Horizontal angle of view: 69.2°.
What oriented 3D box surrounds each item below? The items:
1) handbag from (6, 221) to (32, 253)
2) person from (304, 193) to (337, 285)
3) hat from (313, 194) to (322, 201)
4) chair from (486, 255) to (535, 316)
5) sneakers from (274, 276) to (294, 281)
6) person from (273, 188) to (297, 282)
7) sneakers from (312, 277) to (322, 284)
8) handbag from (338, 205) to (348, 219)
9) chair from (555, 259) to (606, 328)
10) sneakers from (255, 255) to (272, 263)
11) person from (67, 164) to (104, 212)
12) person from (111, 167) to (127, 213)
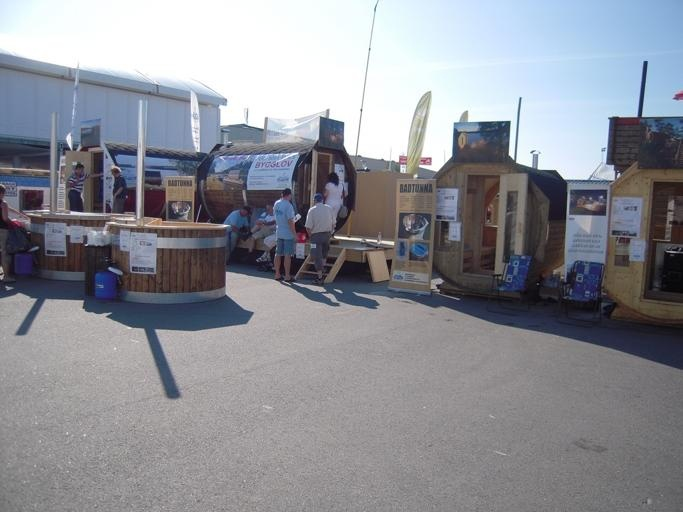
[{"bbox_3d":[-6.433,-0.345,10.006,0.468,0.693,0.272,5,2,35],"label":"handbag"},{"bbox_3d":[-0.505,-0.452,11.999,0.696,2.075,0.638,2,7,-1],"label":"person"},{"bbox_3d":[-0.543,-1.422,11.728,0.129,0.202,0.195,2,-2,-9],"label":"hat"},{"bbox_3d":[3.352,0.514,9.722,0.598,1.172,0.784,4,-3,37],"label":"chair"},{"bbox_3d":[-1.366,0.557,11.988,0.453,0.208,0.164,1,-3,20],"label":"sneakers"},{"bbox_3d":[-1.343,-0.493,11.839,0.569,2.177,0.453,4,8,13],"label":"person"},{"bbox_3d":[-0.579,0.597,11.934,0.106,0.141,0.279,1,2,-36],"label":"sneakers"},{"bbox_3d":[0.061,-1.352,15.004,0.339,0.384,0.270,-3,14,-18],"label":"handbag"},{"bbox_3d":[4.423,0.681,9.092,0.746,1.134,0.899,2,6,13],"label":"chair"},{"bbox_3d":[-2.139,0.082,13.656,0.402,0.312,0.156,3,0,15],"label":"sneakers"},{"bbox_3d":[-8.667,-2.257,16.515,0.786,1.606,2.247,-2,9,-27],"label":"person"},{"bbox_3d":[-6.922,-2.053,15.442,0.403,1.423,0.740,-2,8,-26],"label":"person"}]
